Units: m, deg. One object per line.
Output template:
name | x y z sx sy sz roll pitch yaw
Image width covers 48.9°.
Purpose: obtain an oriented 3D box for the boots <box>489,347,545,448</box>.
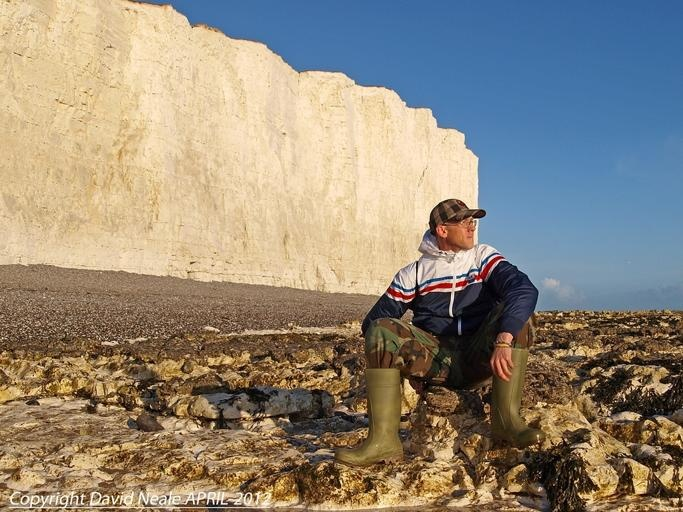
boots | 1.755 1.429 7.513 0.550 0.999 0.264 5 5 26
